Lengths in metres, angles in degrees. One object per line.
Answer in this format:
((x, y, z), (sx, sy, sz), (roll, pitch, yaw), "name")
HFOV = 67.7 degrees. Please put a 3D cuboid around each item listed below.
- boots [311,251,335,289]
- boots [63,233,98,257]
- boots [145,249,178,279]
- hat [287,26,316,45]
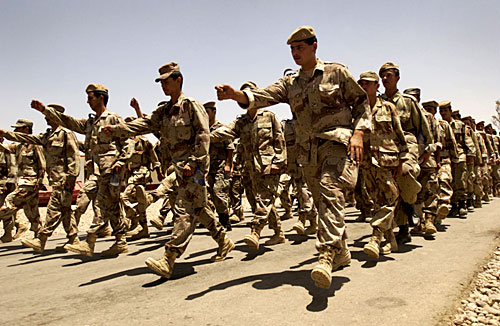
((1.075, 1.606, 5.497), (0.248, 0.504, 0.412), (-2, 5, 22), "boots")
((-3.408, 1.651, 7.517), (0.245, 0.410, 0.626), (-7, -21, 38), "boots")
((-1.544, 1.833, 6.558), (0.517, 0.485, 0.242), (41, -28, -19), "boots")
((0.780, -2.053, 5.748), (0.437, 0.241, 0.699), (-2, 4, 8), "hat")
